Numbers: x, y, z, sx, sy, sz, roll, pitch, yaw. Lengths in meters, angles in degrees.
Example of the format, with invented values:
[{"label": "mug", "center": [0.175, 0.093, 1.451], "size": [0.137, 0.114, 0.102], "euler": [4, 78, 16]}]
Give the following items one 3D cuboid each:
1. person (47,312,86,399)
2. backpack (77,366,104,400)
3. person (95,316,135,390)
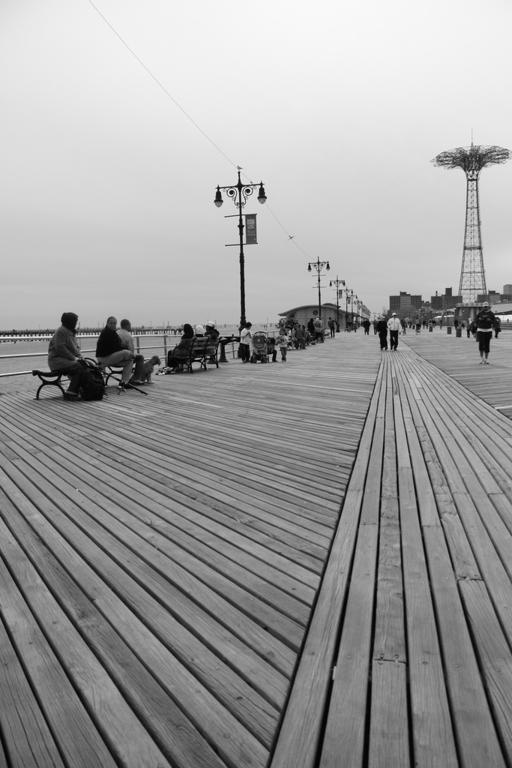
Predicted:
[{"label": "person", "center": [-3.066, -0.409, 9.591], "size": [0.529, 1.417, 0.959], "euler": [-2, 4, -22]}, {"label": "backpack", "center": [-2.763, -0.012, 9.971], "size": [0.356, 0.986, 0.532], "euler": [-1, 2, -18]}, {"label": "person", "center": [-2.593, -0.580, 11.105], "size": [0.546, 1.349, 0.480], "euler": [-7, 14, -30]}]
